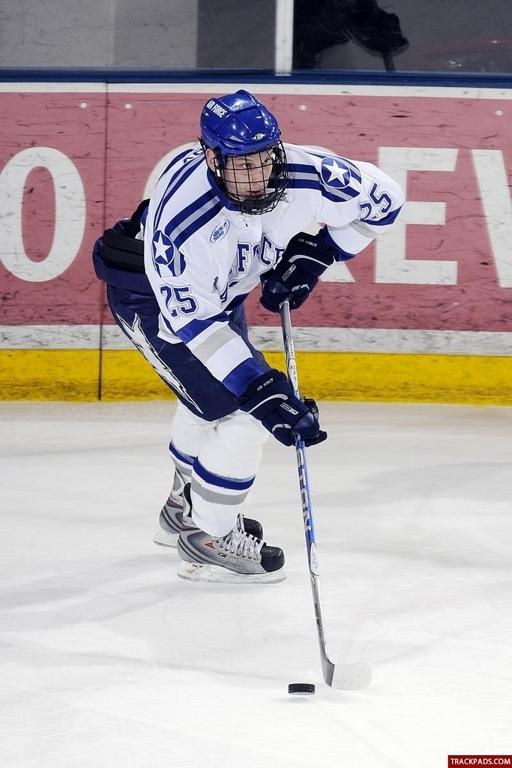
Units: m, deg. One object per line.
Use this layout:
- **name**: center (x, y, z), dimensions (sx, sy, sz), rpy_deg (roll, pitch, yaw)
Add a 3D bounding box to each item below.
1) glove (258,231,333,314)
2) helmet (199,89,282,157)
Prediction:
- **glove**: center (0.103, -0.289, 2.218), dimensions (0.152, 0.227, 0.079), rpy_deg (40, 21, 8)
- **helmet**: center (-0.042, -0.543, 1.771), dimensions (0.151, 0.125, 0.220), rpy_deg (-11, 23, -24)
